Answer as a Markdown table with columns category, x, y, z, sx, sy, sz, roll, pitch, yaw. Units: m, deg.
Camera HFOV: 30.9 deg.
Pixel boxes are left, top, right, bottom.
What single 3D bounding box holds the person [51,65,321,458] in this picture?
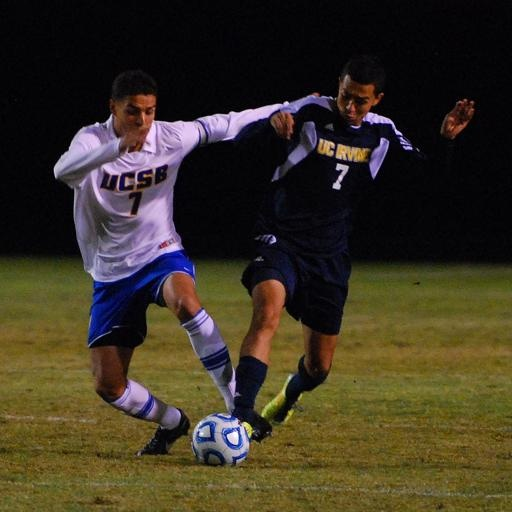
| category | x | y | z | sx | sy | sz | roll | pitch | yaw |
| --- | --- | --- | --- | --- | --- | --- | --- | --- | --- |
| person | -0.641 | 0.089 | 5.589 | 1.127 | 2.315 | 0.894 | 11 | 18 | 8 |

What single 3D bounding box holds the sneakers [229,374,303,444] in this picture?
| category | x | y | z | sx | sy | sz | roll | pitch | yaw |
| --- | --- | --- | --- | --- | --- | --- | --- | --- | --- |
| sneakers | 0.080 | 1.007 | 5.674 | 0.184 | 0.238 | 0.539 | 15 | 42 | 33 |

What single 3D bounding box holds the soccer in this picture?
| category | x | y | z | sx | sy | sz | roll | pitch | yaw |
| --- | --- | --- | --- | --- | --- | --- | --- | --- | --- |
| soccer | -0.196 | 1.040 | 5.259 | 0.332 | 0.343 | 0.341 | -14 | -13 | 33 |
